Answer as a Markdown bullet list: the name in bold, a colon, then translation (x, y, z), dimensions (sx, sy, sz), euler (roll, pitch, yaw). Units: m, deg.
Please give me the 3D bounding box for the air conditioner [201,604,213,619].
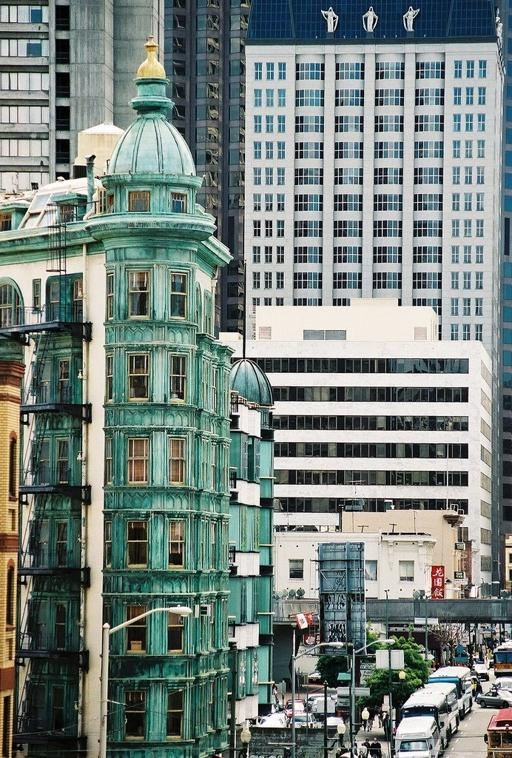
- **air conditioner**: translation (-1.964, 9.733, 95.633), dimensions (0.420, 0.998, 0.798), euler (0, -1, 6)
